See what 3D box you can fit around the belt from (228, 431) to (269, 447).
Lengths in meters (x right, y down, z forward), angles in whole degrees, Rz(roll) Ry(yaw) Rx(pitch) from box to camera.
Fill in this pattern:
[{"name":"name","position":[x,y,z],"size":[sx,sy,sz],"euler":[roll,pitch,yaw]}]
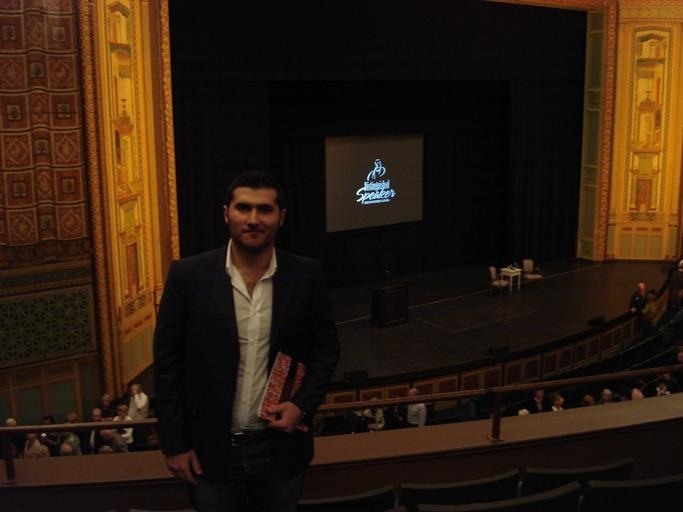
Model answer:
[{"name":"belt","position":[-0.415,0.815,2.796],"size":[0.103,0.037,0.078],"euler":[-1,-1,39]}]
